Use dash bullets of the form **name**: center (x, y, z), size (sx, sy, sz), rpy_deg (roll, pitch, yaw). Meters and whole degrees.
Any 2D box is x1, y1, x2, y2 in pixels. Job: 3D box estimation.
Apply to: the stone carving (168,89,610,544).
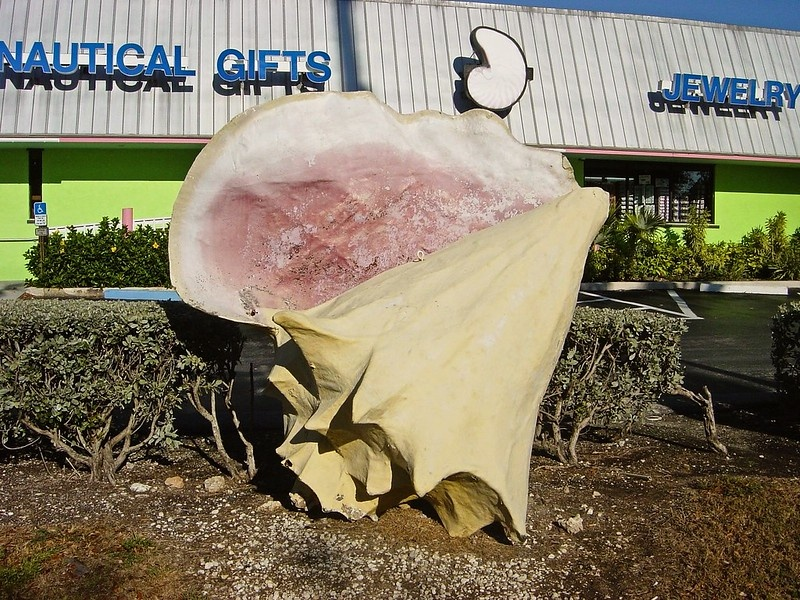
- **stone carving**: center (-0.173, -0.190, 5.901), size (3.123, 3.660, 1.366), rpy_deg (24, -31, 9)
